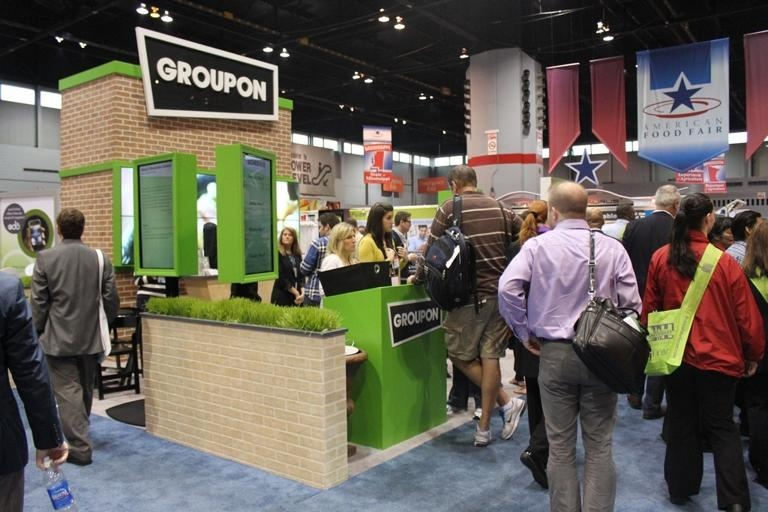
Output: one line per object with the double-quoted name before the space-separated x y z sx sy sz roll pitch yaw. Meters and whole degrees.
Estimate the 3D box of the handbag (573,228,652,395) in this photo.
"handbag" 1.440 0.398 3.586 0.456 1.029 0.408 3 10 20

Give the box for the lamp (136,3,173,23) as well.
"lamp" -4.526 -4.829 11.300 0.605 0.274 0.687 -4 10 -21

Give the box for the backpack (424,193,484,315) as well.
"backpack" 0.566 0.107 4.685 0.437 0.675 0.238 1 9 8

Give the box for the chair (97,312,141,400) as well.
"chair" -3.136 1.171 6.590 0.548 0.895 0.586 -2 -6 22

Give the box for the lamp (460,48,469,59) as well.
"lamp" 2.152 -5.324 15.007 0.172 0.198 0.172 -11 12 -39

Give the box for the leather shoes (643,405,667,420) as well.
"leather shoes" 2.660 1.523 5.552 0.287 0.127 0.095 -7 4 -36

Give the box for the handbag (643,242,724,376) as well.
"handbag" 2.109 0.391 4.001 0.449 0.934 0.290 3 10 23
